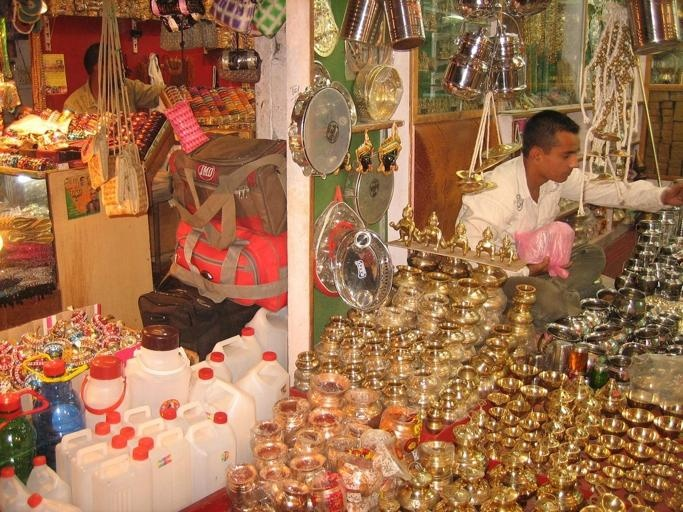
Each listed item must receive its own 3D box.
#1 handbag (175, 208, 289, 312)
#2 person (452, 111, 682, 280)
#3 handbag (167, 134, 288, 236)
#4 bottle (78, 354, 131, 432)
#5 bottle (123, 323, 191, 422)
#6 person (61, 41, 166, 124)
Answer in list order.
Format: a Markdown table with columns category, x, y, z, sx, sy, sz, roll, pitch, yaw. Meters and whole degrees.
| category | x | y | z | sx | sy | sz | roll | pitch | yaw |
| --- | --- | --- | --- | --- | --- | --- | --- | --- | --- |
| handbag | -0.529 | 0.047 | 2.787 | 0.503 | 0.369 | 0.433 | 20 | 19 | 31 |
| person | 1.300 | -0.419 | 3.265 | 1.639 | 0.770 | 0.779 | -14 | 20 | -41 |
| handbag | -0.541 | -0.390 | 3.027 | 0.648 | 0.470 | 0.508 | 15 | 27 | 26 |
| bottle | -0.797 | 0.499 | 1.954 | 0.148 | 0.266 | 0.152 | 3 | -4 | 0 |
| bottle | -0.639 | 0.427 | 2.067 | 0.224 | 0.348 | 0.224 | 7 | 23 | -3 |
| person | -1.996 | -1.500 | 4.942 | 0.760 | 0.538 | 1.693 | -3 | 16 | -9 |
